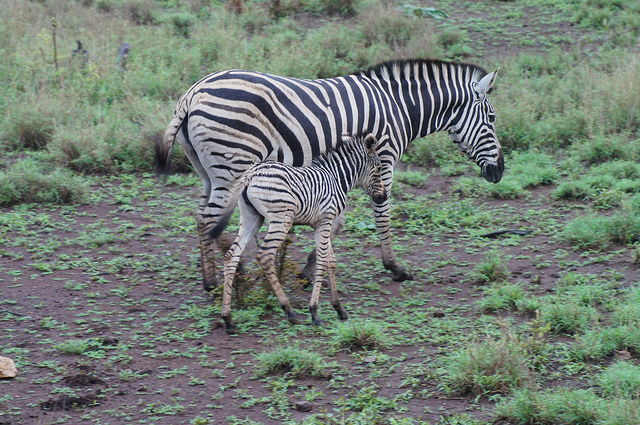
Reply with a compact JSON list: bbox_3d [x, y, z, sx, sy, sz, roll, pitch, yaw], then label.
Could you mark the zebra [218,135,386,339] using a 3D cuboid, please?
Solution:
[{"bbox_3d":[-0.163,0.266,8.628,2.150,2.379,0.797,-5,16,-30],"label":"zebra"}]
